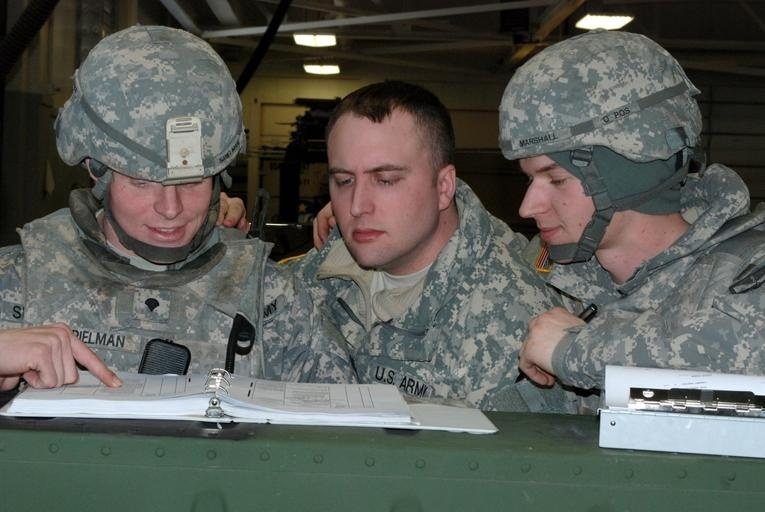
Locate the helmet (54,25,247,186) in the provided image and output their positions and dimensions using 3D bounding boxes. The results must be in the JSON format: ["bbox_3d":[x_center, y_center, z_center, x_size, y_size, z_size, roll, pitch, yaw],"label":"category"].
[{"bbox_3d":[-0.837,-0.544,2.974,0.596,0.474,0.599,-3,49,-25],"label":"helmet"}]

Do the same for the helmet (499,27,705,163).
[{"bbox_3d":[0.778,-0.500,2.996,0.565,0.348,0.549,-10,12,11],"label":"helmet"}]

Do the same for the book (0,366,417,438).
[{"bbox_3d":[-0.489,0.387,2.417,1.140,0.123,0.290,1,7,-1],"label":"book"}]
